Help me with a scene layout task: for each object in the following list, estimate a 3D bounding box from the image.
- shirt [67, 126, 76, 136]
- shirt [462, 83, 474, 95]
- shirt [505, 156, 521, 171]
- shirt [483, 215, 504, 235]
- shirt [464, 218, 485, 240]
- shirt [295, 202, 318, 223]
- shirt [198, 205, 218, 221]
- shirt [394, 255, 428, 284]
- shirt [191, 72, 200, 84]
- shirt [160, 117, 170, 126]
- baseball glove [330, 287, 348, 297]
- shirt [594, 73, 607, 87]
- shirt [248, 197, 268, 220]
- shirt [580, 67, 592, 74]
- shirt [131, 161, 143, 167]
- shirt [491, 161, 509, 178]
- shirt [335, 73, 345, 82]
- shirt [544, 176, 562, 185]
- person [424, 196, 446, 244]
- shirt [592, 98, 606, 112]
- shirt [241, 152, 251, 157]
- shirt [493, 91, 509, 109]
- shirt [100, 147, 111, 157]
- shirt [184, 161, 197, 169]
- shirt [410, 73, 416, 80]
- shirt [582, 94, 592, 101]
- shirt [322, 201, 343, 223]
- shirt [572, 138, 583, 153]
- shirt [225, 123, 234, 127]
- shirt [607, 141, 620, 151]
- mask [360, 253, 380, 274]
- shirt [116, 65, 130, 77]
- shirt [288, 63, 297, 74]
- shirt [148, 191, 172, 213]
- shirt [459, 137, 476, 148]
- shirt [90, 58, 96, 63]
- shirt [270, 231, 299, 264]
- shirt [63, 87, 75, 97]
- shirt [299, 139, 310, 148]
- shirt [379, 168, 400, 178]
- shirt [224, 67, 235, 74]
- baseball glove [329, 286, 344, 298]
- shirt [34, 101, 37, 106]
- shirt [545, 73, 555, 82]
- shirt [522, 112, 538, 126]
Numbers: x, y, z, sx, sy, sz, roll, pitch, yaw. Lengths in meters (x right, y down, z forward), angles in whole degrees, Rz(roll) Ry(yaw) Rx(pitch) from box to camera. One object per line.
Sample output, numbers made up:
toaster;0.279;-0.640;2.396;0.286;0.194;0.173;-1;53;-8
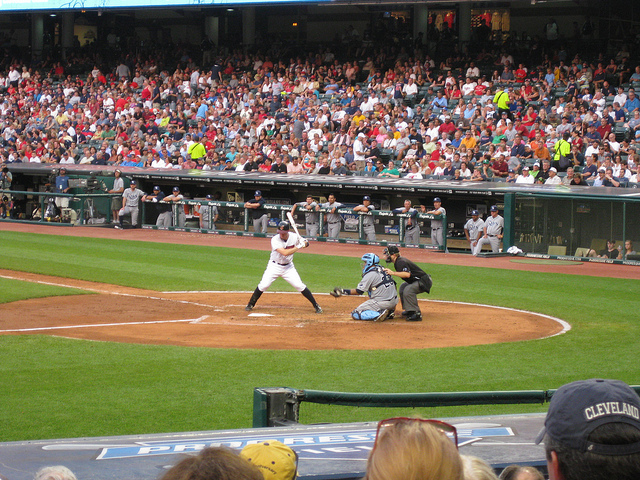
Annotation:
shirt;-10.945;-4.794;59.839;0.343;0.381;0.468;1;2;-27
shirt;5.741;-5.876;52.785;0.523;0.450;0.248;3;2;20
shirt;6.797;-2.741;47.847;0.512;0.419;0.187;3;2;22
shirt;5.937;-0.529;46.464;0.699;0.548;0.264;4;9;33
shirt;5.344;-0.415;46.943;0.755;0.675;0.281;9;13;43
shirt;-0.466;-1.074;49.739;0.843;0.484;0.189;0;9;12
shirt;-4.236;-1.078;51.511;0.627;0.517;0.246;2;1;-3
shirt;2.444;0.769;37.789;1.004;0.649;1.000;21;-3;10
shirt;-5.591;-7.217;60.567;0.304;0.526;0.320;2;2;-8
shirt;-6.714;-5.105;58.434;0.466;0.361;0.235;3;2;37
baseball glove;0.480;1.407;37.737;0.344;0.140;0.232;1;-15;-25
shirt;10.284;-5.922;50.059;0.356;0.481;0.346;2;2;6
shirt;-2.313;-1.199;50.533;0.724;0.792;0.480;2;2;0
shirt;9.934;-6.331;50.735;0.339;0.073;0.329;5;19;23
shirt;-7.332;-3.073;54.556;0.395;0.245;1.029;2;1;-19
shirt;6.397;-2.419;47.916;0.898;0.744;0.461;0;-4;8
shirt;0.796;-6.793;56.835;0.436;0.373;0.227;1;-10;8
shirt;7.990;-2.088;46.504;0.565;0.246;0.235;2;2;0
person;4.046;-0.741;47.672;0.560;1.662;1.015;2;2;0
shirt;10.044;-4.902;48.961;0.425;0.416;0.510;2;1;10
shirt;-2.929;-3.373;53.161;0.314;0.117;0.313;2;1;-1
shirt;6.705;-5.177;50.326;0.613;0.562;0.328;-17;-28;21
shirt;-8.868;-3.651;55.992;0.380;0.431;0.343;-1;1;6
shirt;-5.164;-2.978;53.747;0.471;0.386;0.248;3;-3;-3
shirt;3.728;-6.577;54.640;0.197;0.241;0.338;18;25;3
shirt;9.727;-5.214;49.589;0.310;0.262;0.157;-4;-26;27
shirt;0.426;-1.037;49.277;0.847;0.540;0.240;0;2;18
shirt;8.965;-3.301;47.094;0.440;0.508;0.309;4;11;22
shirt;-3.744;-4.745;56.010;0.248;0.056;0.260;-3;-8;37
shirt;10.039;-3.239;46.633;0.426;0.219;0.417;18;12;-2
mask;1.397;0.588;37.945;0.571;0.506;0.412;1;-2;6
shirt;-9.346;-8.009;64.453;0.714;0.629;0.369;-1;-14;-7
shirt;-1.216;-7.374;58.604;0.357;0.437;0.171;1;-43;8
shirt;-6.142;-1.487;52.497;0.474;0.769;0.815;1;2;-42
shirt;5.333;-3.512;49.092;0.570;0.448;0.310;2;0;34
shirt;-11.231;-8.887;67.282;0.229;0.282;0.609;2;1;-7
shirt;-1.005;0.189;38.562;1.038;0.898;0.557;3;13;-9
shirt;-11.817;-6.907;63.755;0.642;0.493;0.330;-1;-10;11
shirt;-0.639;-3.836;53.295;0.422;0.356;0.233;0;-3;33
shirt;2.531;-2.506;49.778;0.725;0.321;0.647;2;1;1
shirt;-4.117;-7.628;61.186;0.391;0.317;0.381;2;1;-5
baseball glove;0.421;1.425;37.864;0.263;0.129;0.316;-17;13;-25
shirt;-13.478;-6.475;64.359;0.118;0.234;0.411;2;1;-12
shirt;8.718;-6.155;51.581;0.288;0.339;0.418;2;1;2
shirt;7.628;-4.402;49.284;0.524;0.466;0.509;7;1;17
